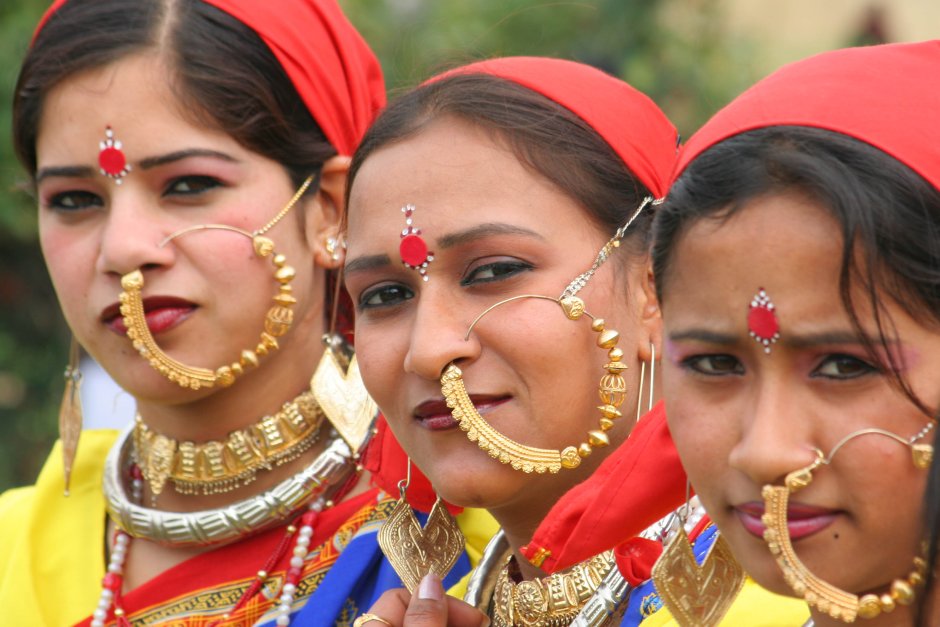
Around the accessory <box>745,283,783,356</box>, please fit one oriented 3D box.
[{"bbox_3d":[0.801,0.018,3.719,0.081,0.174,0.030,-12,-7,13],"label":"accessory"}]

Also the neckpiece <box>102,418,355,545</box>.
[{"bbox_3d":[-1.039,0.620,5.380,0.750,0.703,0.144,-25,-48,-14],"label":"neckpiece"}]

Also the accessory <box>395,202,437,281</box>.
[{"bbox_3d":[-0.177,-0.228,4.314,0.101,0.251,0.038,-11,-7,5],"label":"accessory"}]

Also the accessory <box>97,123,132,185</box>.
[{"bbox_3d":[-1.305,-0.581,4.944,0.104,0.207,0.038,-11,-7,9],"label":"accessory"}]
